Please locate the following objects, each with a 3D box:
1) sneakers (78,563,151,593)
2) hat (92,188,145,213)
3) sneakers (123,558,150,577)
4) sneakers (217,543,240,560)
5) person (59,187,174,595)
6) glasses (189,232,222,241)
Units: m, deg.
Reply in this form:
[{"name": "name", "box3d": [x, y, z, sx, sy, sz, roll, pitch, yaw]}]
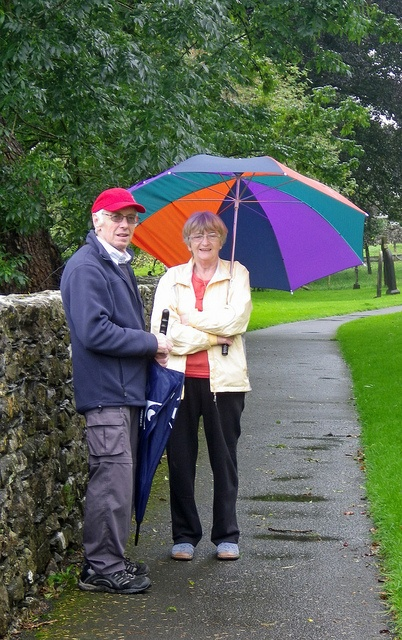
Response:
[{"name": "sneakers", "box3d": [-0.421, 1.268, 3.284, 0.361, 0.151, 0.133, 1, -4, 0]}, {"name": "hat", "box3d": [-0.422, -0.566, 3.249, 0.141, 0.080, 0.197, 1, 0, -44]}, {"name": "sneakers", "box3d": [-0.323, 1.236, 3.351, 0.154, 0.060, 0.070, 0, 3, -24]}, {"name": "sneakers", "box3d": [0.157, 1.294, 3.734, 0.129, 0.086, 0.100, 0, 2, -1]}, {"name": "person", "box3d": [-0.418, 0.336, 3.259, 0.356, 1.993, 0.511, 2, 4, 45]}, {"name": "glasses", "box3d": [0.021, -0.455, 3.641, 0.162, 0.050, 0.067, 0, 2, 5]}]
